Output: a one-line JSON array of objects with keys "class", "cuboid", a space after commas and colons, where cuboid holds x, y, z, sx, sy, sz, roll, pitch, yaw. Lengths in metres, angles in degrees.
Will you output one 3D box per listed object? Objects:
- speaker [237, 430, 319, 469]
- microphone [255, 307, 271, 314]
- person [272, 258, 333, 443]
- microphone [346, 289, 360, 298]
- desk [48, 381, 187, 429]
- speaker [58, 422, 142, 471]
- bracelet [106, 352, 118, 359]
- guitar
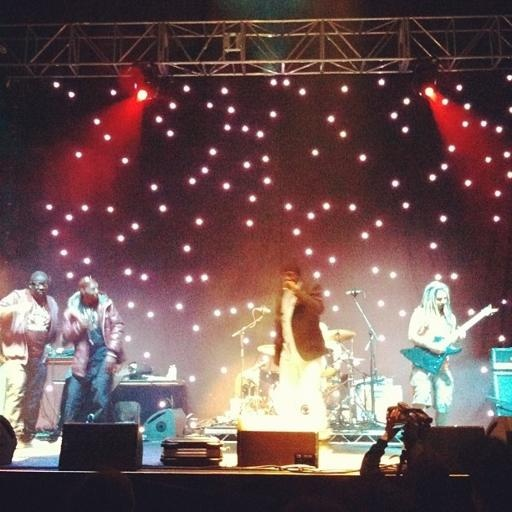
[{"class": "speaker", "cuboid": [0.160, 1.394, 4.909, 0.578, 0.267, 0.081, 1, -15, 7]}, {"class": "microphone", "cuboid": [0.083, 0.653, 8.204, 0.095, 0.090, 0.160, 7, 7, 42]}, {"class": "person", "cuboid": [0.409, 0.791, 6.145, 0.480, 1.482, 0.455, 2, -15, 1]}, {"class": "microphone", "cuboid": [1.199, 0.446, 8.332, 0.108, 0.120, 0.046, -6, 9, -4]}, {"class": "desk", "cuboid": [-1.421, 1.574, 7.191, 0.620, 0.420, 0.674, -1, -12, 3]}, {"class": "speaker", "cuboid": [-1.084, 1.344, 4.792, 0.379, 0.279, 0.378, 2, -20, -6]}, {"class": "bracelet", "cuboid": [-1.522, 1.055, 7.197, 0.072, 0.060, 0.073, -7, 5, -29]}, {"class": "guitar", "cuboid": [2.126, 0.873, 7.280, 1.326, 0.915, 0.500, 18, -22, -41]}]
